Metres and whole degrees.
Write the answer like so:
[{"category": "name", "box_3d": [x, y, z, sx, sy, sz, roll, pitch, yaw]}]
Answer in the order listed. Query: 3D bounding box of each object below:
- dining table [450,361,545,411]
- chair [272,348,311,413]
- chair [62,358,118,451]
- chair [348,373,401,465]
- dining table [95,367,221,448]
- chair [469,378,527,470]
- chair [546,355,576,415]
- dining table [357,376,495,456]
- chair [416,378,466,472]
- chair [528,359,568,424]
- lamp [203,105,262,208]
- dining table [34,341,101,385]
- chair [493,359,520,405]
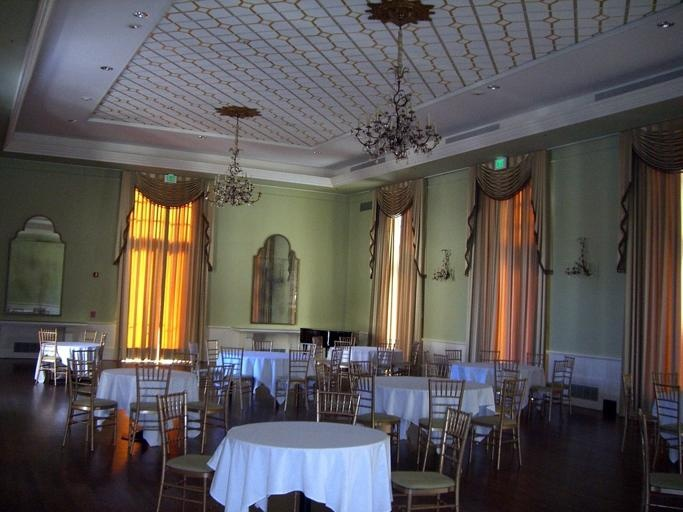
[{"category": "dining table", "box_3d": [2.347, 1.967, 7.641, 1.166, 0.696, 1.170, 6, -7, -31]}, {"category": "chair", "box_3d": [-0.866, 2.158, 8.998, 0.576, 0.935, 0.626, 5, -10, -16]}, {"category": "chair", "box_3d": [-3.250, 1.916, 6.610, 0.601, 0.975, 0.675, -6, -13, 38]}, {"category": "chair", "box_3d": [0.421, 1.953, 6.170, 0.607, 0.987, 0.583, 5, -8, -13]}, {"category": "dining table", "box_3d": [-2.437, 1.654, 6.839, 1.338, 0.980, 1.369, 1, -5, 33]}, {"category": "chair", "box_3d": [1.987, 2.082, 6.446, 0.535, 1.052, 0.635, 7, -8, -37]}, {"category": "chair", "box_3d": [3.924, 2.425, 9.367, 0.636, 0.880, 0.634, 2, -5, -3]}, {"category": "dining table", "box_3d": [1.091, 1.780, 6.305, 1.171, 0.451, 1.226, 1, -5, 7]}, {"category": "chair", "box_3d": [1.156, 1.933, 5.923, 0.549, 1.021, 0.552, 2, -2, 17]}, {"category": "chair", "box_3d": [3.881, 2.449, 9.357, 0.640, 0.871, 0.659, -1, -12, -42]}, {"category": "lamp", "box_3d": [-2.285, -2.164, 10.774, 1.030, 1.816, 1.005, -1, 18, -23]}, {"category": "dining table", "box_3d": [-5.375, 2.032, 10.220, 0.904, 0.541, 0.921, 8, -11, -26]}, {"category": "chair", "box_3d": [2.734, 2.003, 8.496, 0.455, 0.476, 0.698, 15, -6, 5]}]
